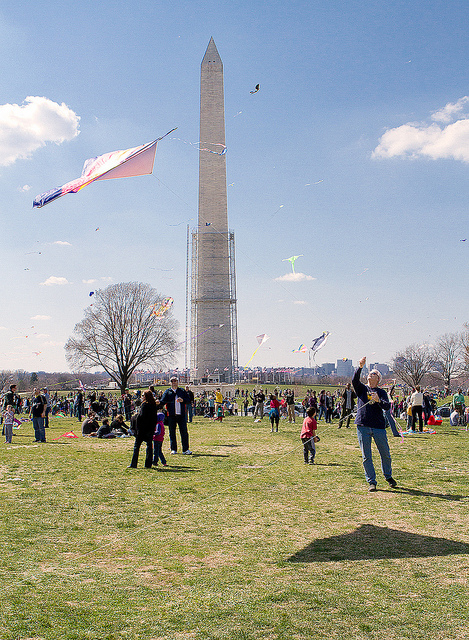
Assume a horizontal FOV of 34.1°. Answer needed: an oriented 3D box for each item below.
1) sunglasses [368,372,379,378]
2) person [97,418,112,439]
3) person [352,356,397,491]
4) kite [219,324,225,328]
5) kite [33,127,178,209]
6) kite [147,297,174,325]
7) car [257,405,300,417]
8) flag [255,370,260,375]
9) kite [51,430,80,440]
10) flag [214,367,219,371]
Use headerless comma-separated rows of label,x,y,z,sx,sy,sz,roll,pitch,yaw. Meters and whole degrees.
sunglasses,2.055,0.797,11.133,0.073,0.068,0.116,4,-8,-34
person,-3.248,2.720,19.095,0.361,0.487,1.375,1,-6,-9
person,2.030,1.517,11.187,0.560,1.894,0.654,-2,-7,12
kite,-1.050,0.479,60.526,0.298,0.238,0.148,0,-7,-2
kite,-2.031,-2.212,11.337,1.550,1.065,1.393,-6,-9,42
kite,-3.972,-0.395,39.327,1.067,1.666,0.884,5,-28,32
car,2.117,4.320,36.075,1.662,0.663,0.991,2,-5,12
flag,2.637,6.076,88.663,0.158,0.445,0.498,24,-18,-16
kite,-4.611,3.137,20.811,0.512,0.187,0.376,6,-8,-13
flag,-1.412,3.856,60.189,0.186,0.335,0.210,4,-20,-2
